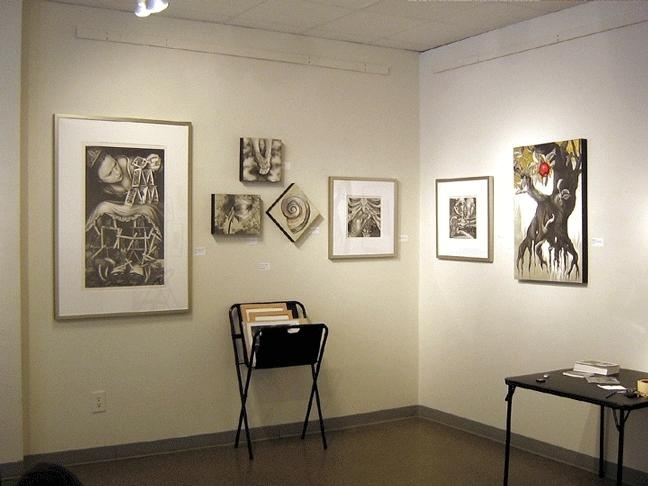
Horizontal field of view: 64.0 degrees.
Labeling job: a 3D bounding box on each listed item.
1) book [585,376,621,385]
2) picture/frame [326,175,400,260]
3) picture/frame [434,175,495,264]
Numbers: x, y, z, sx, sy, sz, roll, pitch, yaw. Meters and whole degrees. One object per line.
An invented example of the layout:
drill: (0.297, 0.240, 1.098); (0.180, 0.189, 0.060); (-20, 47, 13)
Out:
book: (1.978, 0.978, 3.679); (0.213, 0.017, 0.193); (1, 3, 14)
picture/frame: (0.395, -0.262, 5.250); (0.684, 0.852, 0.028); (0, 24, 1)
picture/frame: (1.389, -0.239, 5.045); (0.083, 1.187, 0.820); (1, -1, -39)
